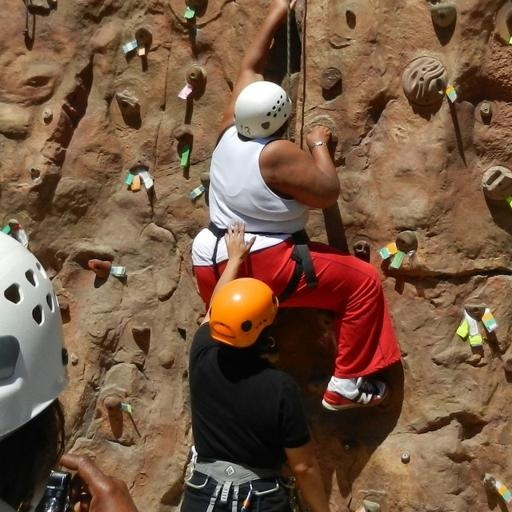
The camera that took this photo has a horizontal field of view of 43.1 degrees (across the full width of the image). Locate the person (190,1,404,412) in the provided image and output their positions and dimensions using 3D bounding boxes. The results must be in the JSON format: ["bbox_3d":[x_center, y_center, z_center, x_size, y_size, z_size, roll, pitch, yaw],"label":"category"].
[{"bbox_3d":[0.329,-0.279,3.983,0.985,2.478,1.187,-19,35,-27],"label":"person"}]

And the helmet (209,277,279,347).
[{"bbox_3d":[-0.059,0.245,3.399,0.224,0.343,0.336,17,109,25],"label":"helmet"}]

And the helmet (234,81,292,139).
[{"bbox_3d":[0.038,-0.820,3.628,0.311,0.166,0.256,-2,69,1],"label":"helmet"}]
